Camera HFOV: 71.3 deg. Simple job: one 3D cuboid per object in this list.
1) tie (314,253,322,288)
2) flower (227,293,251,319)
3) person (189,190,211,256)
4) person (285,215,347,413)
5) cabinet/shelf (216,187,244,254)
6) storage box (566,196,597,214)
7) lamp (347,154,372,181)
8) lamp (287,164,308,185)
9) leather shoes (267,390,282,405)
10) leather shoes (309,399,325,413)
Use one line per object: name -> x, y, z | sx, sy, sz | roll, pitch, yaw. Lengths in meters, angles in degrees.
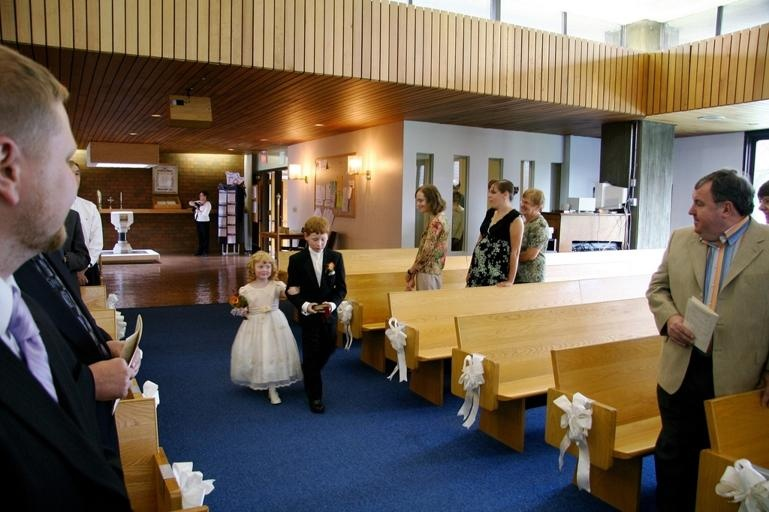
tie -> -0.552, 0.107, 4.524 | 0.049, 0.230, 0.108 | 0, 2, -4
flower -> -1.255, 0.437, 4.637 | 0.215, 0.237, 0.243 | -11, -8, -19
person -> -5.421, -0.985, 15.798 | 0.571, 1.832, 1.568 | -2, 9, -19
person -> -0.575, 0.496, 4.588 | 0.491, 1.652, 0.448 | -1, 8, -10
cabinet/shelf -> -4.648, -1.096, 16.258 | 0.690, 2.110, 1.484 | 0, 8, -4
storage box -> 3.835, -0.975, 10.290 | 0.389, 0.250, 0.400 | 0, 8, -5
lamp -> -0.523, -1.840, 11.095 | 0.625, 0.594, 0.384 | -1, 2, -41
lamp -> -2.196, -2.092, 13.649 | 0.393, 0.473, 0.758 | -3, 9, -22
leather shoes -> -0.961, 1.247, 4.718 | 0.066, 0.082, 0.185 | -4, -1, -23
leather shoes -> -0.571, 1.280, 4.567 | 0.068, 0.055, 0.136 | 0, 8, -14
